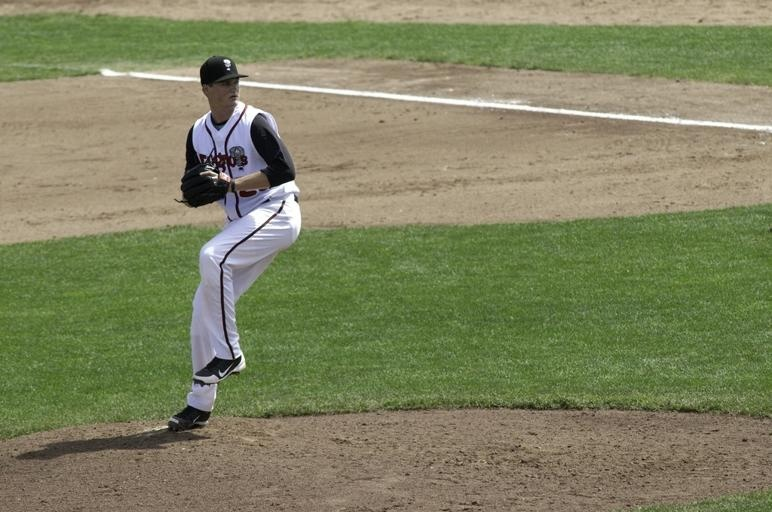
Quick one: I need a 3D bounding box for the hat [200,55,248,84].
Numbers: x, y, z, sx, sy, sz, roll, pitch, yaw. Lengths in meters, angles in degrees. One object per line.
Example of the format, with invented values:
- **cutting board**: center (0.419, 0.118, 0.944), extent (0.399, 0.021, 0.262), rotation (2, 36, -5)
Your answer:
- **hat**: center (-2.821, -3.185, 29.210), extent (0.690, 0.308, 0.460), rotation (-6, 7, 24)
